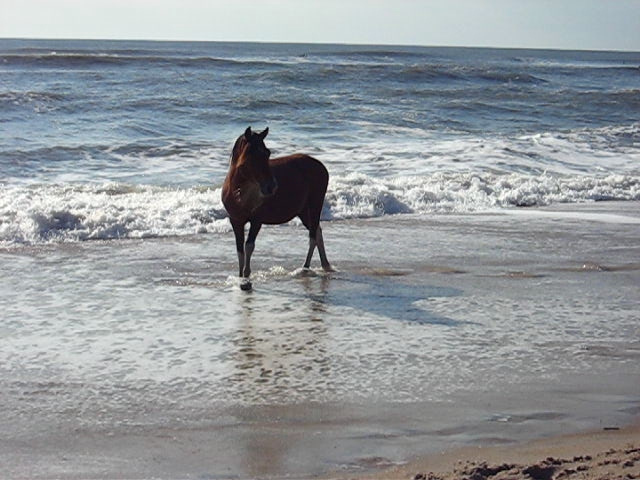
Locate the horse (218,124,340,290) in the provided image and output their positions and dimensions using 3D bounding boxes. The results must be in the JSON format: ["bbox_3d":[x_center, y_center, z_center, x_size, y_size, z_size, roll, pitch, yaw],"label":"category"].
[{"bbox_3d":[-0.782,-0.573,19.057,1.104,2.721,1.640,10,14,39],"label":"horse"}]
